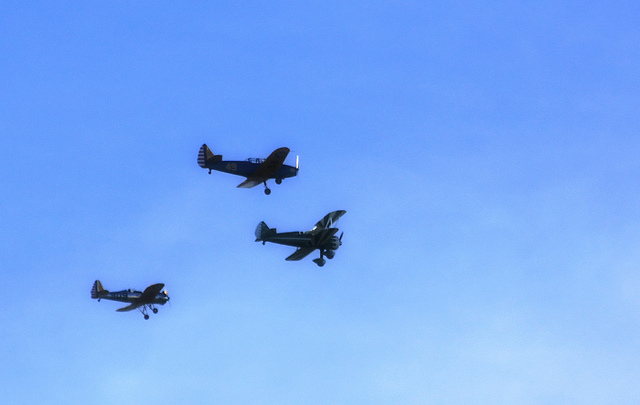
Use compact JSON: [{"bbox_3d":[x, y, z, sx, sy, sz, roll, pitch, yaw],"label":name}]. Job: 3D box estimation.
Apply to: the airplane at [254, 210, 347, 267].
[{"bbox_3d":[-1.590,3.415,85.138,5.531,7.784,2.753,8,63,-18],"label":"airplane"}]
